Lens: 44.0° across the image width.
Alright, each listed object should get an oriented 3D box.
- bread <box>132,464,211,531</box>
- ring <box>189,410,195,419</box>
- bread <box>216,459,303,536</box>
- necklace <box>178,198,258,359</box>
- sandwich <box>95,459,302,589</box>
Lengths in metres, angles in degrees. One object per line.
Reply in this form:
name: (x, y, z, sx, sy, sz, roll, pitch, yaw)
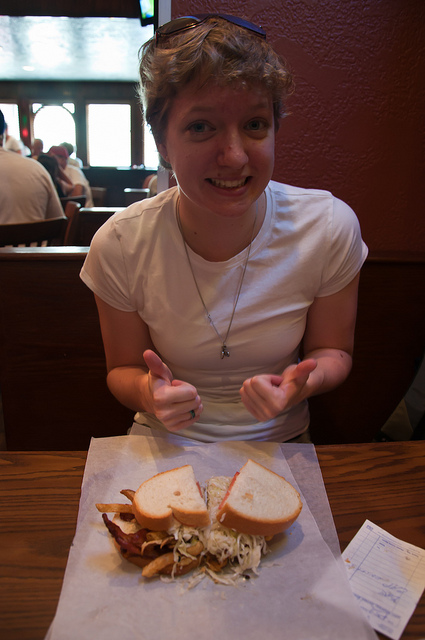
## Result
bread: (-0.074, 0.270, 0.829, 0.109, 0.038, 0.167, -4, 19, -11)
ring: (-0.039, 0.183, 1.012, 0.011, 0.008, 0.012, 0, 10, 0)
bread: (0.086, 0.275, 0.846, 0.116, 0.051, 0.180, 6, 19, 17)
necklace: (0.015, -0.059, 1.219, 0.161, 0.274, 0.130, 0, 20, 1)
sandwich: (-0.005, 0.288, 0.777, 0.180, 0.051, 0.160, -3, 20, -36)
